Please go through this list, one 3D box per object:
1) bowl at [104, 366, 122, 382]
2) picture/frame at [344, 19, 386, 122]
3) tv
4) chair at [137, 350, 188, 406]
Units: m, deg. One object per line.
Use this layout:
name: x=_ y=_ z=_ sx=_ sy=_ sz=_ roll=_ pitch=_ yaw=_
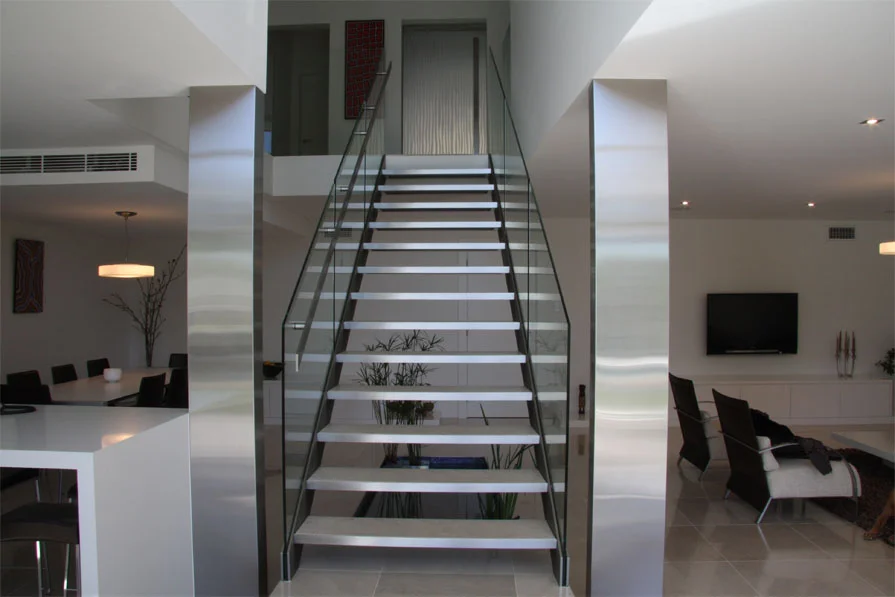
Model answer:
bowl: x=-4.085 y=0.934 z=9.044 sx=0.180 sy=0.138 sz=0.188 roll=1 pitch=-8 yaw=0
picture/frame: x=-1.394 y=-3.778 z=12.187 sx=0.644 sy=1.656 sz=0.123 roll=1 pitch=-2 yaw=6
tv: x=4.581 y=0.391 z=11.204 sx=1.005 sy=0.667 sz=0.147 roll=0 pitch=-3 yaw=2
chair: x=-3.639 y=1.011 z=9.397 sx=0.516 sy=0.690 sz=0.733 roll=1 pitch=0 yaw=-6
